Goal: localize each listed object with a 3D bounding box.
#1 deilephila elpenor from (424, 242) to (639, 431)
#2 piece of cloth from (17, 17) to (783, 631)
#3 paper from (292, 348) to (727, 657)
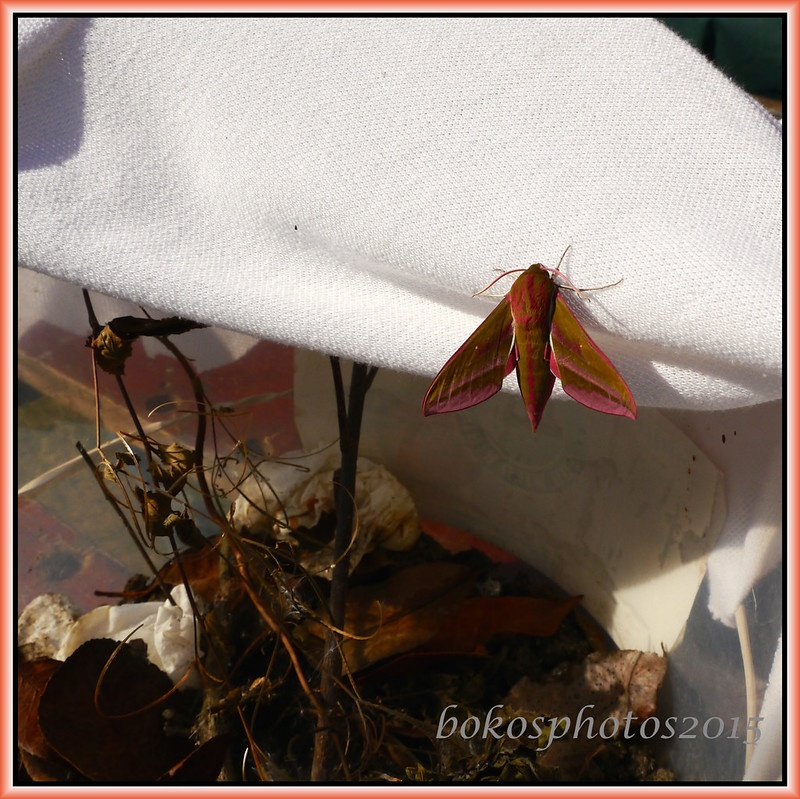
[{"bbox_3d":[0.076,-0.030,0.485,0.131,0.097,0.033,7,5,15],"label":"deilephila elpenor"},{"bbox_3d":[0.007,-0.115,0.629,0.474,0.287,0.307,14,36,3],"label":"piece of cloth"},{"bbox_3d":[0.104,0.058,0.777,0.422,0.230,0.222,-20,37,-36],"label":"paper"}]
